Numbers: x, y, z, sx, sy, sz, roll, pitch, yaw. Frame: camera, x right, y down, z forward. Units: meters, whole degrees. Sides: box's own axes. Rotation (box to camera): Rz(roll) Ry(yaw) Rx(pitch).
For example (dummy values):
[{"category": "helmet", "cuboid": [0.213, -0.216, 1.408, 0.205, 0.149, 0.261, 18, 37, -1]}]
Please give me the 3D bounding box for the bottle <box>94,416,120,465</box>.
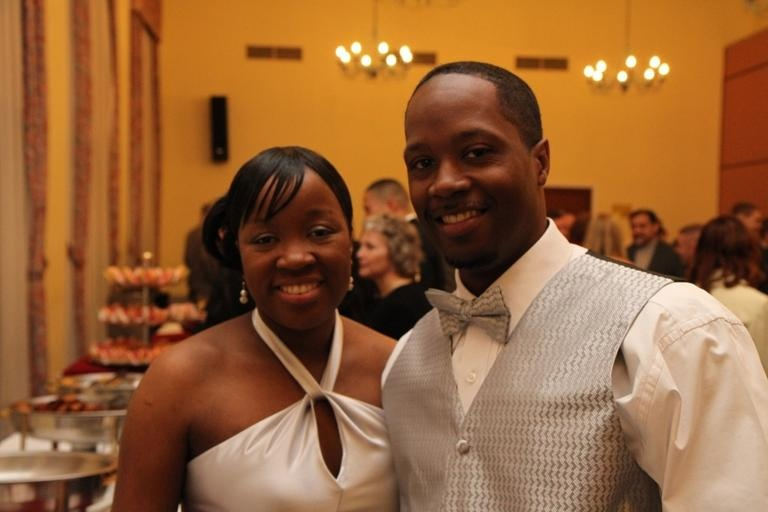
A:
[{"category": "bottle", "cuboid": [-1.182, 0.796, 3.368, 0.041, 0.158, 0.154, 17, 28, -25]}]
